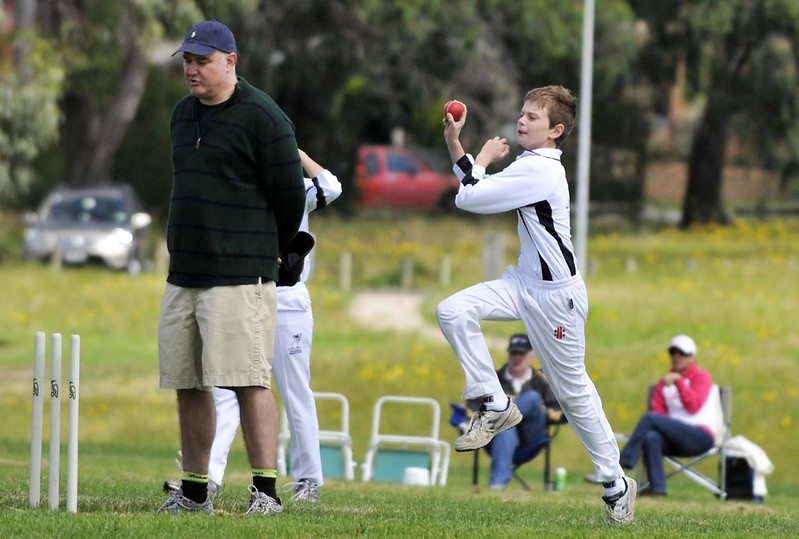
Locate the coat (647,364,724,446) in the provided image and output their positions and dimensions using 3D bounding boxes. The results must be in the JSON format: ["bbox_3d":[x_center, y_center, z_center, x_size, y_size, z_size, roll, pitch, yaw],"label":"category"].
[{"bbox_3d":[4.038,1.821,22.432,0.822,1.133,0.970,7,-7,-26],"label":"coat"}]

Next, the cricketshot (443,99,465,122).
[{"bbox_3d":[0.704,-1.973,19.707,0.242,0.288,0.249,1,0,9],"label":"cricketshot"}]

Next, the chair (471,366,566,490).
[{"bbox_3d":[1.555,2.353,24.163,1.545,2.093,1.754,0,-6,-3],"label":"chair"}]

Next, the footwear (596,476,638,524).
[{"bbox_3d":[2.676,2.850,19.591,0.249,0.672,0.301,3,6,18],"label":"footwear"}]

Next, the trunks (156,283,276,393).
[{"bbox_3d":[-2.184,0.739,19.398,1.514,1.422,0.890,-4,-9,40],"label":"trunks"}]

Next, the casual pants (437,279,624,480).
[{"bbox_3d":[1.638,1.301,19.560,2.105,2.560,0.577,0,-2,8],"label":"casual pants"}]

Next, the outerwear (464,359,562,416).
[{"bbox_3d":[1.655,1.719,23.772,1.421,1.394,0.759,-1,-5,1],"label":"outerwear"}]

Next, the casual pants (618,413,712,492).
[{"bbox_3d":[3.663,2.456,22.339,1.228,1.427,0.995,1,-16,14],"label":"casual pants"}]

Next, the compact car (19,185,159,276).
[{"bbox_3d":[-6.745,-0.189,34.804,2.417,1.974,4.035,2,-17,-2],"label":"compact car"}]

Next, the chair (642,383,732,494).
[{"bbox_3d":[4.234,2.453,22.947,1.386,2.007,1.361,2,-6,-4],"label":"chair"}]

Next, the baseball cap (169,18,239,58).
[{"bbox_3d":[-2.210,-2.753,19.048,0.579,0.330,0.429,3,6,-7],"label":"baseball cap"}]

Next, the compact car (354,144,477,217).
[{"bbox_3d":[0.188,-2.424,41.594,2.527,1.228,1.460,-2,8,-3],"label":"compact car"}]

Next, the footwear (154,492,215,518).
[{"bbox_3d":[-2.523,2.797,19.153,0.755,0.322,0.254,5,-9,-10],"label":"footwear"}]
